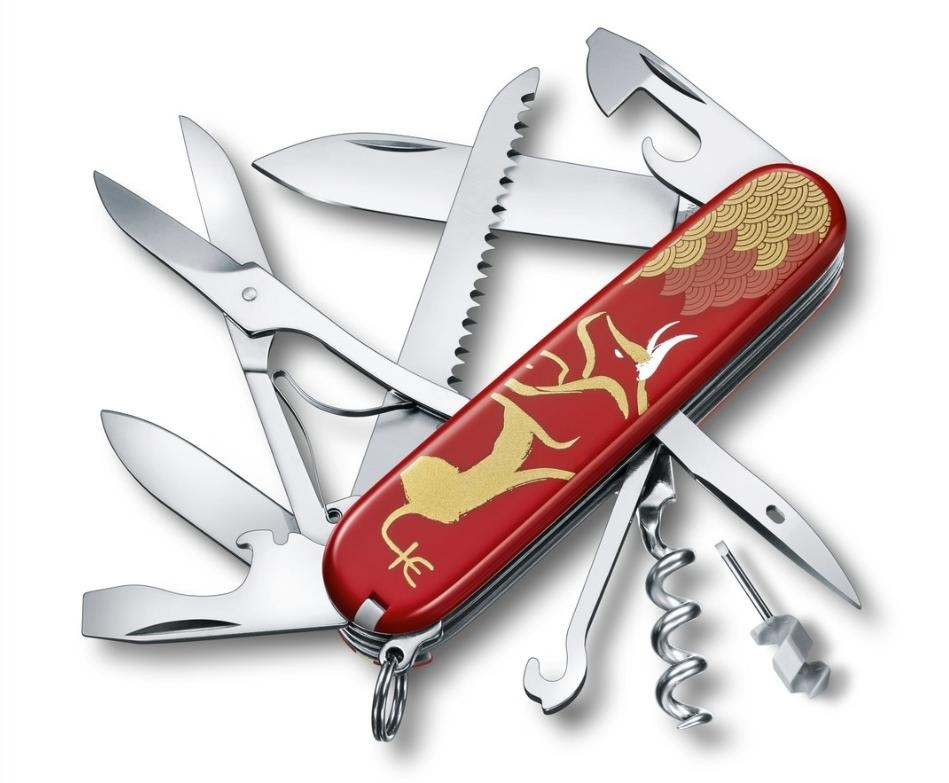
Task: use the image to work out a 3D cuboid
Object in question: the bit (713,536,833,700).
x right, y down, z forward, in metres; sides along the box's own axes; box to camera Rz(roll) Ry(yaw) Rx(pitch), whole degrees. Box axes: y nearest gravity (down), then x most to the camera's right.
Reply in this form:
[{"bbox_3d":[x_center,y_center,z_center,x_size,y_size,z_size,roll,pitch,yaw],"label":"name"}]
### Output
[{"bbox_3d":[0.547,0.401,2.033,0.143,0.260,0.114,-14,-7,-17],"label":"bit"}]
